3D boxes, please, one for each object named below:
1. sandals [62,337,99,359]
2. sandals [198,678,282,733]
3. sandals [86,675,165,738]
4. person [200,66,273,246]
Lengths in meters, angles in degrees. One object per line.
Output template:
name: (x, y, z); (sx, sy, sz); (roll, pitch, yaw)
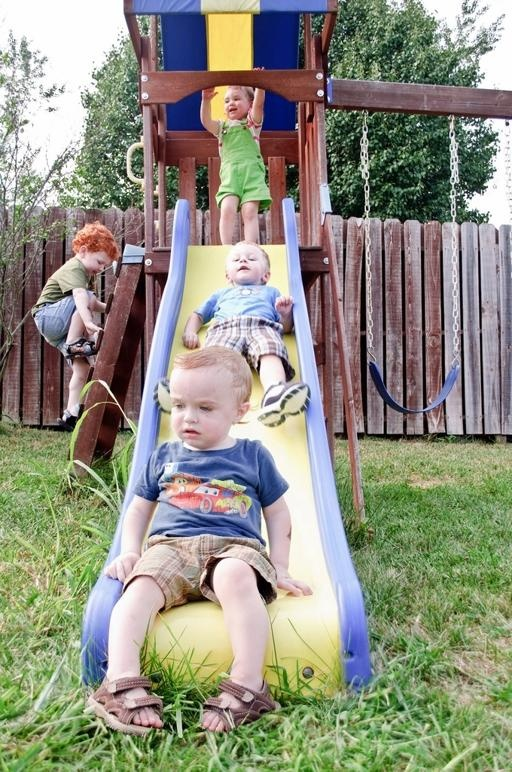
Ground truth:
sandals: (-1.014, -0.218, 4.105); (0.277, 0.139, 0.098); (-3, 3, 12)
sandals: (-0.030, 0.593, 1.308); (0.071, 0.076, 0.191); (-21, -24, 40)
sandals: (-0.235, 0.576, 1.272); (0.185, 0.088, 0.082); (-3, -22, 45)
person: (-0.110, -1.329, 4.264); (0.398, 1.220, 0.330); (-6, -15, 10)
